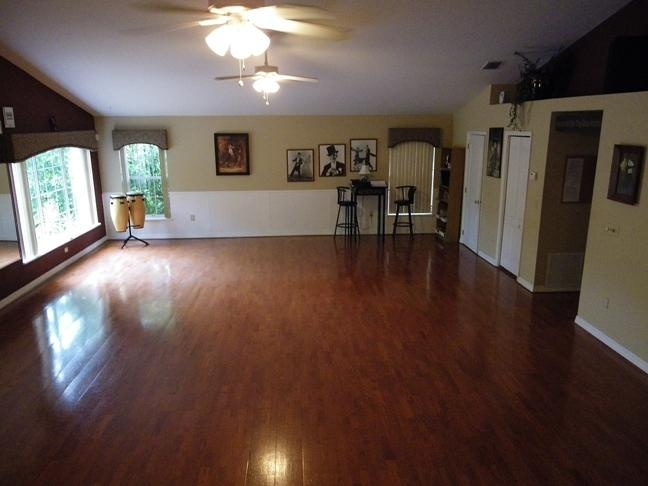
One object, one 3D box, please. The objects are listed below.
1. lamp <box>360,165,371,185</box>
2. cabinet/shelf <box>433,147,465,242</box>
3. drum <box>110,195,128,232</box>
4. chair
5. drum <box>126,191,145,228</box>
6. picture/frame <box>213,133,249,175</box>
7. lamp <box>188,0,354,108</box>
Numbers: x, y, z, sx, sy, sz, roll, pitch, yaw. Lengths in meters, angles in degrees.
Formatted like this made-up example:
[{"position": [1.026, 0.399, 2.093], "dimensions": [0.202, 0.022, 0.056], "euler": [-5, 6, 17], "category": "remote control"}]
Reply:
[{"position": [0.894, -1.527, 9.818], "dimensions": [0.215, 0.409, 0.611], "euler": [1, 14, 5], "category": "lamp"}, {"position": [2.760, -1.083, 9.798], "dimensions": [0.377, 2.011, 0.753], "euler": [-1, 14, -2], "category": "cabinet/shelf"}, {"position": [-4.383, -0.620, 9.516], "dimensions": [0.367, 0.816, 0.294], "euler": [-5, 14, -16], "category": "drum"}, {"position": [1.104, -0.769, 9.952], "dimensions": [1.810, 1.303, 0.639], "euler": [-1, 14, -2], "category": "chair"}, {"position": [-4.084, -0.711, 9.650], "dimensions": [0.344, 0.784, 0.340], "euler": [-1, 14, 0], "category": "drum"}, {"position": [-2.076, -2.010, 9.782], "dimensions": [0.768, 1.049, 0.071], "euler": [0, 9, -6], "category": "picture/frame"}, {"position": [-0.492, -2.100, 4.874], "dimensions": [1.613, 0.911, 1.711], "euler": [10, 25, 25], "category": "lamp"}]
